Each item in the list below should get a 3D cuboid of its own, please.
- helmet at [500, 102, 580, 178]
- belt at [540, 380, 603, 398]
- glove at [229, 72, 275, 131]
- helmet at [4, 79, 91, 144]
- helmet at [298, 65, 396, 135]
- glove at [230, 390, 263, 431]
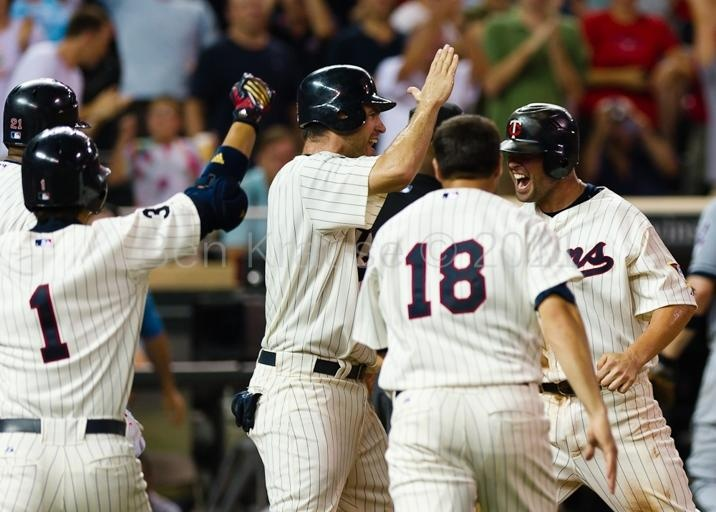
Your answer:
[{"bbox_3d":[1.252,-0.789,9.127,0.562,0.515,0.469,-6,20,-12],"label":"helmet"},{"bbox_3d":[1.377,0.849,8.457,0.233,0.099,0.183,2,-11,-3],"label":"belt"},{"bbox_3d":[-0.739,-1.080,8.879,0.240,0.151,0.320,13,43,10],"label":"glove"},{"bbox_3d":[-2.110,-0.959,8.950,0.473,0.445,0.376,4,-3,-27],"label":"helmet"},{"bbox_3d":[-0.045,-1.075,8.952,0.632,0.499,0.483,-4,3,15],"label":"helmet"},{"bbox_3d":[-0.747,1.028,8.730,0.166,0.276,0.247,-5,15,-26],"label":"glove"}]
